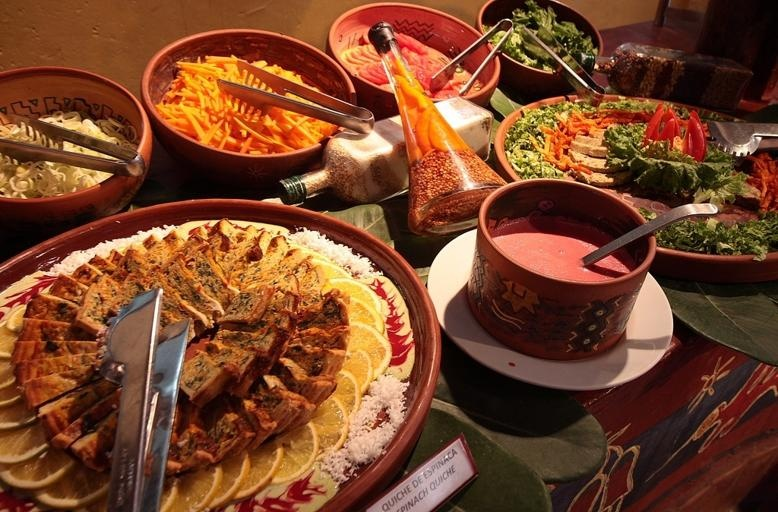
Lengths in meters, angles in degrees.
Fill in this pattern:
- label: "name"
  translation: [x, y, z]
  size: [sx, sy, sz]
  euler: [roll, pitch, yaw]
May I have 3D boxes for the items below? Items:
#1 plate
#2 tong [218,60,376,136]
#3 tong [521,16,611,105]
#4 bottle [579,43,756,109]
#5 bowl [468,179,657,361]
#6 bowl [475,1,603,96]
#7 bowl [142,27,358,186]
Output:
- label: "plate"
  translation: [0.423, 0.151, 1.224]
  size: [0.446, 0.073, 0.432]
  euler: [-8, 42, -12]
- label: "tong"
  translation: [-0.303, -0.494, 1.710]
  size: [0.515, 0.110, 0.135]
  euler: [18, 60, -1]
- label: "tong"
  translation: [0.691, -0.780, 2.167]
  size: [0.095, 0.137, 0.566]
  euler: [-37, 60, 6]
- label: "bottle"
  translation: [1.064, -0.686, 2.072]
  size: [0.663, 0.192, 0.201]
  euler: [14, 50, 10]
- label: "bowl"
  translation: [0.341, 0.082, 1.351]
  size: [0.438, 0.253, 0.435]
  euler: [3, 46, -3]
- label: "bowl"
  translation: [0.584, -0.882, 2.254]
  size: [0.507, 0.206, 0.495]
  euler: [7, 46, -7]
- label: "bowl"
  translation: [-0.505, -0.433, 1.741]
  size: [0.619, 0.261, 0.603]
  euler: [9, 47, -10]
